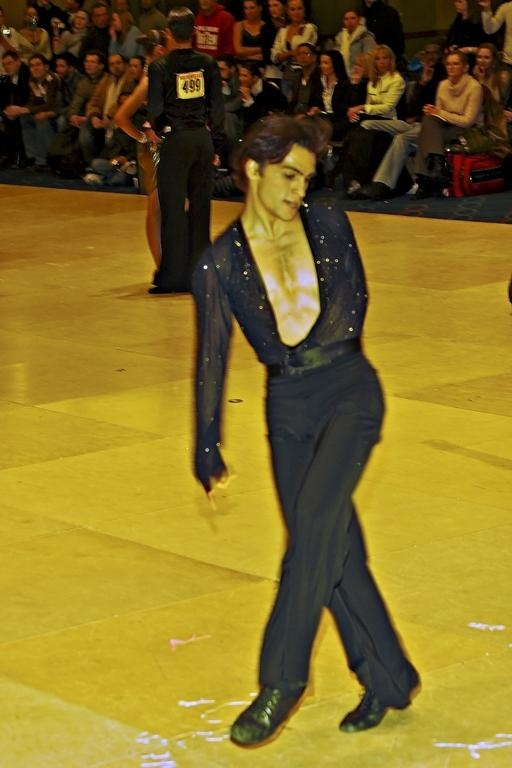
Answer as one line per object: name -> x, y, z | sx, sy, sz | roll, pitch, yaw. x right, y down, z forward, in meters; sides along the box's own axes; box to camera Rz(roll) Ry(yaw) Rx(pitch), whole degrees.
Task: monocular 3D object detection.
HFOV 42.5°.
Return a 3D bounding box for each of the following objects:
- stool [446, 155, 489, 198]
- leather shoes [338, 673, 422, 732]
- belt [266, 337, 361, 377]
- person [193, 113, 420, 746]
stool -> 3.937, -3.928, 12.441 | 0.716, 0.682, 0.300 | 2, 25, -1
leather shoes -> 0.307, 0.774, 1.591 | 0.218, 0.084, 0.068 | -24, 25, -12
belt -> 0.130, -0.058, 1.478 | 0.208, 0.082, 0.066 | -1, 12, 3
person -> 0.100, 0.119, 1.556 | 0.489, 1.413, 0.383 | -6, 13, -12
